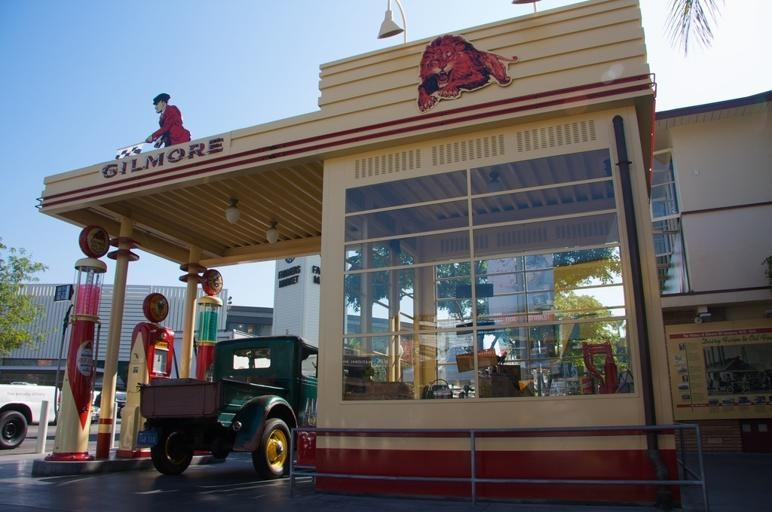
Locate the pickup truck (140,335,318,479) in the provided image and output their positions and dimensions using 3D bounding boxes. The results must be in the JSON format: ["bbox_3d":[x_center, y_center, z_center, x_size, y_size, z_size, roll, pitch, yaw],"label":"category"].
[{"bbox_3d":[-3.216,3.076,12.192,2.684,2.890,2.827,-8,-15,24],"label":"pickup truck"}]

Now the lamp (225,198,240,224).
[{"bbox_3d":[-3.452,-1.039,13.211,0.245,0.545,0.425,1,-14,-13],"label":"lamp"}]
